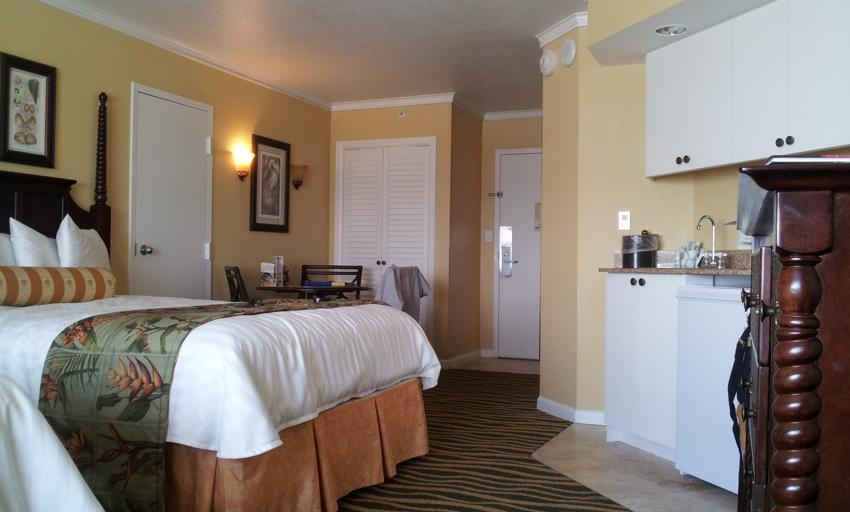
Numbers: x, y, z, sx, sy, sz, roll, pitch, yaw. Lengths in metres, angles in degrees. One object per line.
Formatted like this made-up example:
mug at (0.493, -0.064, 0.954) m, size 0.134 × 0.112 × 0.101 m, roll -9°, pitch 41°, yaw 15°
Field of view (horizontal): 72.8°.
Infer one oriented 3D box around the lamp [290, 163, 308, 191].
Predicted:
lamp at (-1.485, -0.929, 6.866) m, size 0.257 × 0.340 × 0.274 m, roll 4°, pitch -2°, yaw -10°

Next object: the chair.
chair at (-0.713, 0.339, 5.937) m, size 1.048 × 0.658 × 1.079 m, roll 2°, pitch 4°, yaw 34°

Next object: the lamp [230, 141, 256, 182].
lamp at (-1.945, -0.966, 6.175) m, size 0.233 × 0.298 × 0.222 m, roll 1°, pitch 3°, yaw -3°
